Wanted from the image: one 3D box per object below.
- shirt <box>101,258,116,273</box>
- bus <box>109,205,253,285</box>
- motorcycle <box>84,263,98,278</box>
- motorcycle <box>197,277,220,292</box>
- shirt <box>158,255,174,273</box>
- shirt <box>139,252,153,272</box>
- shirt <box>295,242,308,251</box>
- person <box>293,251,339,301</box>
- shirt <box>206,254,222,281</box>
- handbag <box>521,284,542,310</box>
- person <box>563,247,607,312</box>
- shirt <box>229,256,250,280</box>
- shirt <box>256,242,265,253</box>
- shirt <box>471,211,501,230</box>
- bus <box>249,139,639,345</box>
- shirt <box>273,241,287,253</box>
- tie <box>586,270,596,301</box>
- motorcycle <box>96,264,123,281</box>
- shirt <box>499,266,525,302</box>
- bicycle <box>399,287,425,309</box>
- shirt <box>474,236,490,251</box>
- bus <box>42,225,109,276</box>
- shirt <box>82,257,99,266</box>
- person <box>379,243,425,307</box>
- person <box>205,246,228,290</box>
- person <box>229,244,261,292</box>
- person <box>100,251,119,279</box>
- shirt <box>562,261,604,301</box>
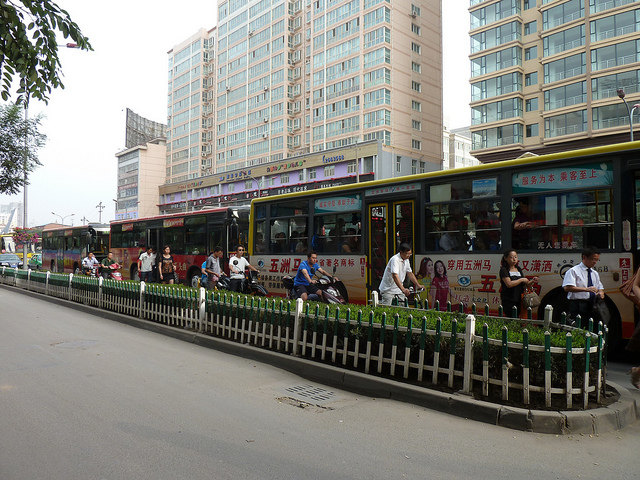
[{"bbox_3d":[-8.240,1.015,22.298,0.409,0.417,0.943,-13,-9,-43],"label":"shirt"},{"bbox_3d":[-5.585,0.133,24.025,2.779,3.242,10.378,0,-1,-37],"label":"bus"},{"bbox_3d":[-9.226,1.209,22.987,0.409,0.447,0.652,3,-11,-15],"label":"motorcycle"},{"bbox_3d":[-3.190,1.273,16.491,0.638,0.267,0.494,12,1,21],"label":"motorcycle"},{"bbox_3d":[-5.027,0.801,18.691,0.631,0.659,0.370,0,-15,-16],"label":"shirt"},{"bbox_3d":[-5.548,0.708,18.326,0.358,0.612,0.289,-3,8,-21],"label":"shirt"},{"bbox_3d":[-0.516,0.178,15.858,0.282,0.226,0.179,12,-3,10],"label":"shirt"},{"bbox_3d":[-0.172,0.974,12.971,0.997,1.425,0.811,7,11,20],"label":"person"},{"bbox_3d":[-3.059,0.835,16.587,0.466,0.731,0.553,0,7,-4],"label":"shirt"},{"bbox_3d":[3.894,1.051,10.613,0.255,0.527,0.480,-28,-18,36],"label":"handbag"},{"bbox_3d":[4.581,0.690,9.962,0.610,1.086,0.353,3,8,25],"label":"person"},{"bbox_3d":[-2.188,0.735,15.667,0.382,0.632,0.660,5,8,32],"label":"shirt"},{"bbox_3d":[-1.751,0.233,16.981,0.053,0.261,0.250,-7,-19,-45],"label":"shirt"},{"bbox_3d":[3.586,-0.408,12.134,0.378,0.384,0.094,0,0,45],"label":"shirt"},{"bbox_3d":[0.912,-0.247,15.362,3.852,3.973,14.052,1,-1,-42],"label":"bus"},{"bbox_3d":[-1.193,0.199,16.444,0.304,0.314,0.074,4,3,37],"label":"shirt"},{"bbox_3d":[4.688,0.778,9.924,0.100,0.483,0.210,0,7,2],"label":"tie"},{"bbox_3d":[-8.247,1.261,22.328,0.768,0.922,1.565,1,-4,-39],"label":"motorcycle"},{"bbox_3d":[3.622,0.847,10.848,0.398,0.782,0.622,-6,7,29],"label":"shirt"},{"bbox_3d":[1.815,1.163,11.675,0.564,0.376,0.302,-10,0,7],"label":"bicycle"},{"bbox_3d":[3.447,0.071,12.218,0.328,0.296,0.122,4,8,27],"label":"shirt"},{"bbox_3d":[-13.215,0.565,31.128,2.555,2.980,7.137,1,-2,-38],"label":"bus"},{"bbox_3d":[-9.519,0.871,23.700,0.406,0.332,0.565,-1,7,-13],"label":"shirt"},{"bbox_3d":[1.589,0.939,11.506,0.875,1.759,0.798,7,9,33],"label":"person"},{"bbox_3d":[-3.026,1.056,16.649,0.491,1.738,0.573,9,12,31],"label":"person"},{"bbox_3d":[-2.157,1.033,15.487,0.605,1.752,0.711,10,9,34],"label":"person"},{"bbox_3d":[-8.691,1.066,23.746,0.767,0.858,1.232,6,-10,-35],"label":"person"},{"bbox_3d":[4.669,0.740,10.076,0.675,0.703,0.366,5,-9,-12],"label":"shirt"}]
